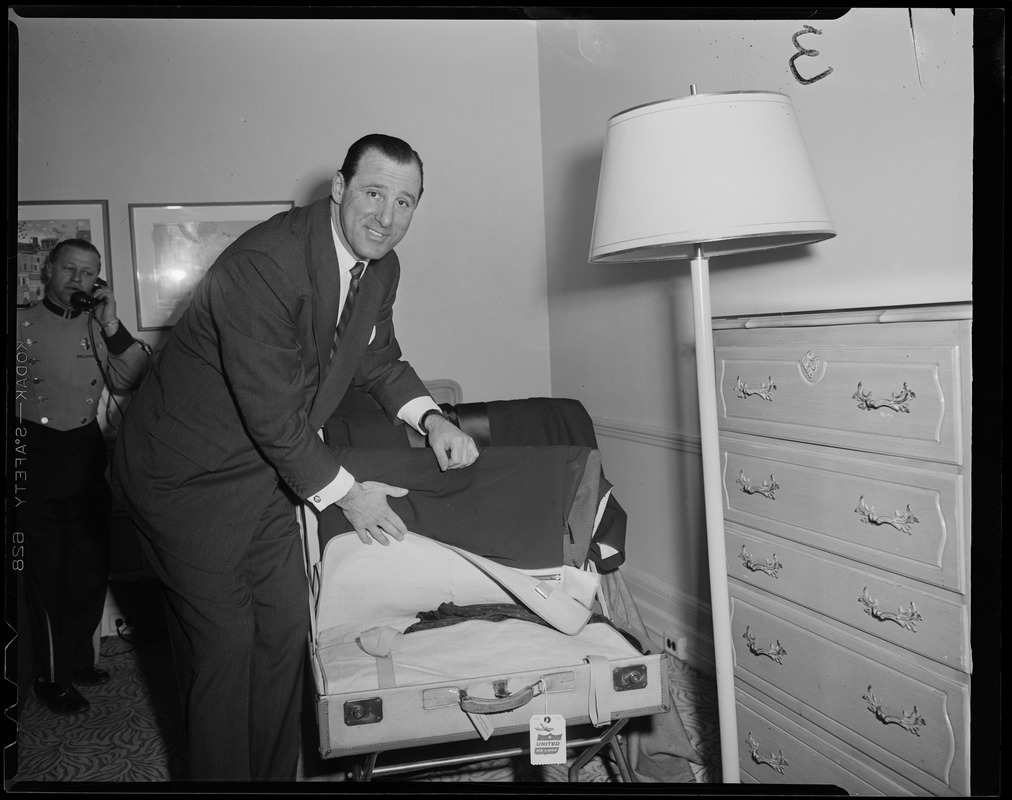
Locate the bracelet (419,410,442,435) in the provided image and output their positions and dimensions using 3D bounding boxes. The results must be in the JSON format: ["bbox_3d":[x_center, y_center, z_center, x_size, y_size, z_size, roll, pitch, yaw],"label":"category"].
[{"bbox_3d":[-0.173,0.049,1.655,0.025,0.034,0.079,-9,-7,-4],"label":"bracelet"}]

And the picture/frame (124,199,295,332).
[{"bbox_3d":[-0.632,-0.276,1.560,0.319,0.283,0.013,-9,28,-21],"label":"picture/frame"}]

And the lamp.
[{"bbox_3d":[0.351,0.079,1.346,0.427,1.180,0.371,-1,5,-9],"label":"lamp"}]

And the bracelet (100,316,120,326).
[{"bbox_3d":[-0.959,-0.185,1.818,0.028,0.017,0.039,-2,4,-10],"label":"bracelet"}]
